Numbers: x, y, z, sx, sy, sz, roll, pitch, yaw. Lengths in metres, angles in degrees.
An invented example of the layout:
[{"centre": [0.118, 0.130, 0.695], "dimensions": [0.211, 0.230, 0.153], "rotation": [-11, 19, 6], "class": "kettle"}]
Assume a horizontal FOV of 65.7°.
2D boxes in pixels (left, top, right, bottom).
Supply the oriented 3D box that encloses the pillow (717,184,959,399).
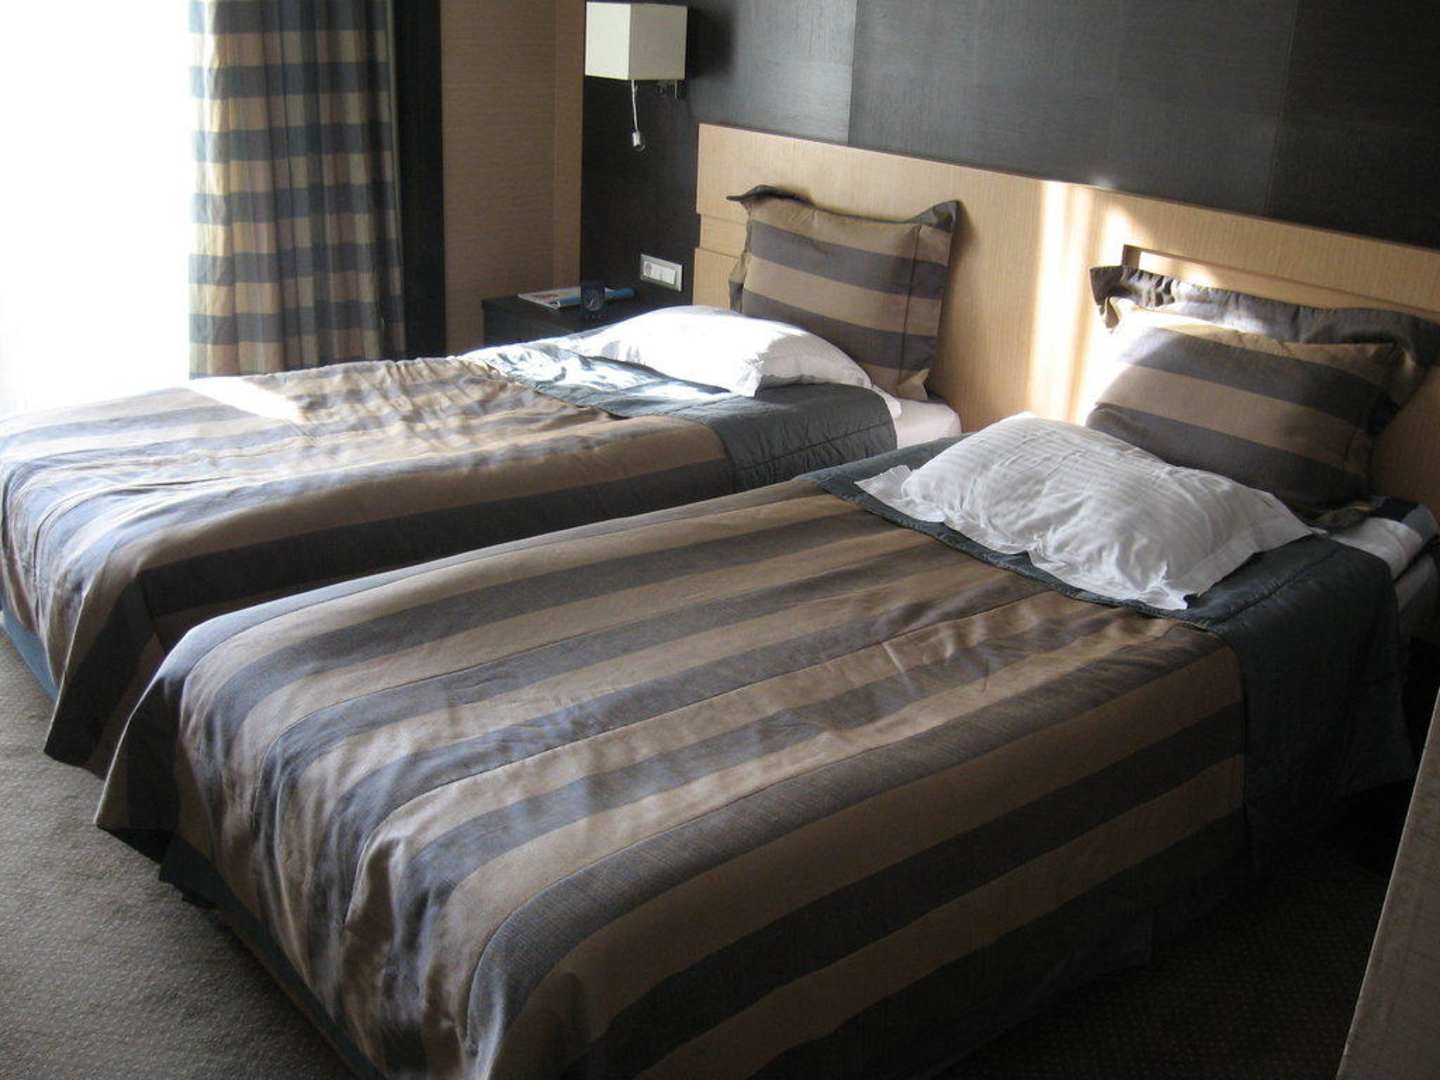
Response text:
[{"centre": [0.407, -0.929, 3.980], "dimensions": [0.303, 0.656, 0.995], "rotation": [-20, 35, -39], "class": "pillow"}]
